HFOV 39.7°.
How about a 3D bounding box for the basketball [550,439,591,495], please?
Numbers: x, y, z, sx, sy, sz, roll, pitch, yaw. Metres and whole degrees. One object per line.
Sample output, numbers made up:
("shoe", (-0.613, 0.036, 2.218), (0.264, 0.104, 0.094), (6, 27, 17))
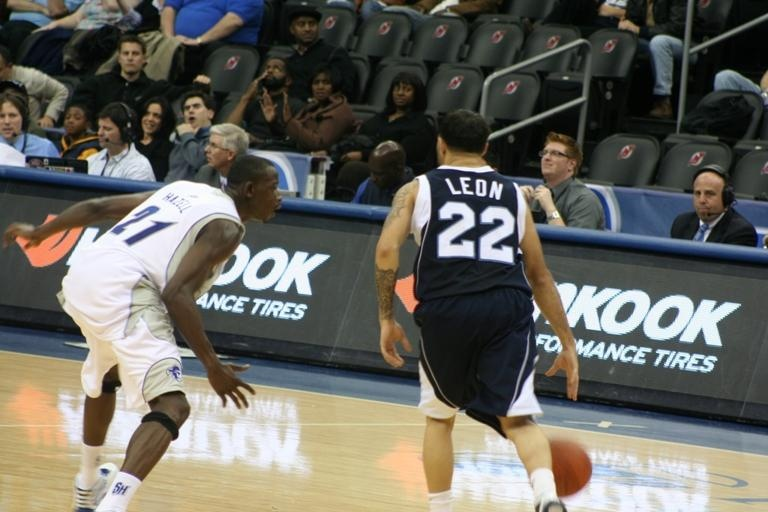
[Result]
("basketball", (1.290, 1.491, 7.416), (0.298, 0.362, 0.277), (8, 10, 6))

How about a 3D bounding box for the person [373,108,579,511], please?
("person", (0.620, 0.404, 7.471), (1.514, 2.784, 0.908), (10, 11, 18))

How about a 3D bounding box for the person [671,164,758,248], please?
("person", (3.305, -0.467, 10.668), (0.573, 0.927, 1.161), (-5, 12, -24))

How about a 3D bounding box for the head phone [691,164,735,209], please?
("head phone", (3.288, -0.700, 10.687), (0.180, 0.466, 0.457), (-6, -4, -41))
